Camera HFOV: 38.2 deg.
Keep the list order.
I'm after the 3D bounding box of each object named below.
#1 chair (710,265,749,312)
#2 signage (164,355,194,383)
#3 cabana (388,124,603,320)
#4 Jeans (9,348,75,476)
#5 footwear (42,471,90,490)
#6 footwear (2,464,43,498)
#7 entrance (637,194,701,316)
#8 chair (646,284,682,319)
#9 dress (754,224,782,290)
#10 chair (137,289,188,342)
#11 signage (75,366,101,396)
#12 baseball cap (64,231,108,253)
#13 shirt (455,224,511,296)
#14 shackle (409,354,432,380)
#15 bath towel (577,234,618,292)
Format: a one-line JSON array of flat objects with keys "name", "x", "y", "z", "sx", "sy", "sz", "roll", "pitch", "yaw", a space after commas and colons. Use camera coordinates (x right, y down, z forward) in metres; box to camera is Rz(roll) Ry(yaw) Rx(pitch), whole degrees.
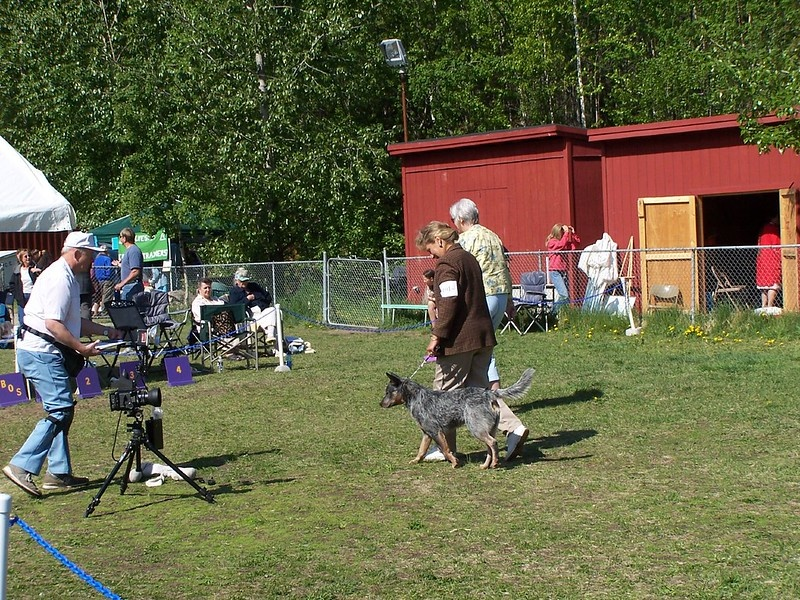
[{"name": "chair", "x": 5.835, "y": -0.294, "z": 20.712, "sx": 0.588, "sy": 0.801, "sz": 2.859, "roll": -3, "pitch": 0, "yaw": 15}, {"name": "signage", "x": -3.294, "y": 1.040, "z": 17.285, "sx": 0.338, "sy": 0.331, "sz": 0.183, "roll": -3, "pitch": 16, "yaw": -8}, {"name": "cabana", "x": 2.723, "y": -2.123, "z": 24.004, "sx": 4.567, "sy": 2.991, "sz": 2.765, "roll": 1, "pitch": 8, "yaw": 39}, {"name": "Jeans", "x": -3.825, "y": 1.218, "z": 12.515, "sx": 0.637, "sy": 1.264, "sz": 0.361, "roll": -3, "pitch": 0, "yaw": -17}, {"name": "footwear", "x": -3.653, "y": 1.992, "z": 12.769, "sx": 0.537, "sy": 0.247, "sz": 0.191, "roll": 0, "pitch": 7, "yaw": -15}, {"name": "footwear", "x": -4.049, "y": 1.950, "z": 12.504, "sx": 0.383, "sy": 0.325, "sz": 0.277, "roll": -3, "pitch": 0, "yaw": -9}, {"name": "entrance", "x": 4.969, "y": -0.958, "z": 21.533, "sx": 1.013, "sy": 2.306, "sz": 0.237, "roll": -1, "pitch": 34, "yaw": 14}, {"name": "chair", "x": 4.777, "y": -0.015, "z": 21.015, "sx": 0.510, "sy": 0.903, "sz": 0.655, "roll": -2, "pitch": -2, "yaw": 24}, {"name": "dress", "x": 6.427, "y": -0.780, "z": 20.335, "sx": 0.425, "sy": 1.161, "sz": 1.505, "roll": -3, "pitch": 0, "yaw": 18}, {"name": "chair", "x": -3.763, "y": 0.357, "z": 18.211, "sx": 0.741, "sy": 1.071, "sz": 0.827, "roll": -7, "pitch": 4, "yaw": -38}, {"name": "signage", "x": -4.355, "y": 1.175, "z": 16.615, "sx": 0.370, "sy": 0.502, "sz": 0.355, "roll": -1, "pitch": -2, "yaw": -32}, {"name": "baseball cap", "x": -3.442, "y": -0.640, "z": 12.667, "sx": 0.316, "sy": 0.157, "sz": 0.229, "roll": -3, "pitch": 8, "yaw": -19}, {"name": "shirt", "x": 0.960, "y": -0.431, "z": 13.813, "sx": 0.543, "sy": 0.892, "sz": 1.019, "roll": -6, "pitch": 0, "yaw": 43}, {"name": "shackle", "x": 0.300, "y": 0.986, "z": 16.830, "sx": 0.602, "sy": 0.065, "sz": 0.262, "roll": -43, "pitch": 23, "yaw": -32}, {"name": "bath towel", "x": 3.593, "y": -0.612, "z": 20.994, "sx": 0.706, "sy": 1.301, "sz": 0.332, "roll": 9, "pitch": 37, "yaw": 6}]
